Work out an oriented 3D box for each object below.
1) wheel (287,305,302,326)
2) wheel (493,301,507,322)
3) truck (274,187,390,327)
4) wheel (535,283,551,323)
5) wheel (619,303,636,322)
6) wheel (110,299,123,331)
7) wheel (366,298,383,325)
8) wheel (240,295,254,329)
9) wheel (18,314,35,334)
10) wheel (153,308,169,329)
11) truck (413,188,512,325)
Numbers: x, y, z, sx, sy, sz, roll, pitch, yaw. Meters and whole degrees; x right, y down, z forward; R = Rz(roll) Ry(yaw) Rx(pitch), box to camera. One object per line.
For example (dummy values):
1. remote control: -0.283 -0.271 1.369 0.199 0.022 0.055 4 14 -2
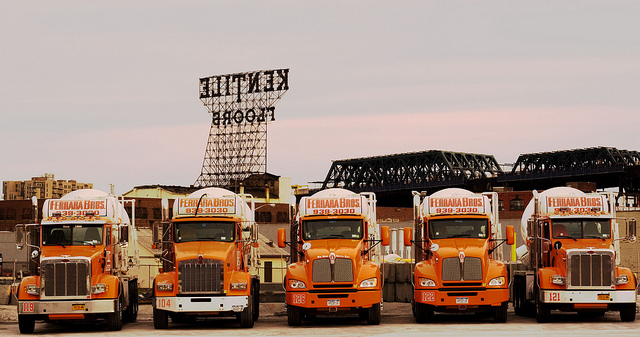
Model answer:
1. wheel: -1.653 9.387 77.110 0.635 1.387 1.521 -1 -3 4
2. wheel: 11.479 9.153 77.508 0.577 1.365 1.496 0 -3 7
3. truck: 0.899 5.679 77.930 6.283 9.078 2.767 -2 -10 0
4. wheel: 14.274 8.657 77.759 0.963 2.495 2.732 1 -3 -2
5. wheel: 19.651 9.220 77.653 0.812 1.902 1.468 1 0 1
6. wheel: -12.918 9.311 76.516 0.751 1.923 2.104 -2 -4 6
7. wheel: 3.437 9.301 77.218 0.991 1.401 1.232 -2 -9 1
8. wheel: -4.673 9.130 76.705 0.844 2.127 2.323 -1 1 1
9. wheel: -18.459 9.866 76.319 0.966 1.229 0.910 -2 -10 0
10. wheel: -10.048 9.560 76.749 0.920 1.317 0.721 0 -10 -11
11. truck: 8.997 5.620 78.777 5.665 8.791 2.644 -3 -10 4
